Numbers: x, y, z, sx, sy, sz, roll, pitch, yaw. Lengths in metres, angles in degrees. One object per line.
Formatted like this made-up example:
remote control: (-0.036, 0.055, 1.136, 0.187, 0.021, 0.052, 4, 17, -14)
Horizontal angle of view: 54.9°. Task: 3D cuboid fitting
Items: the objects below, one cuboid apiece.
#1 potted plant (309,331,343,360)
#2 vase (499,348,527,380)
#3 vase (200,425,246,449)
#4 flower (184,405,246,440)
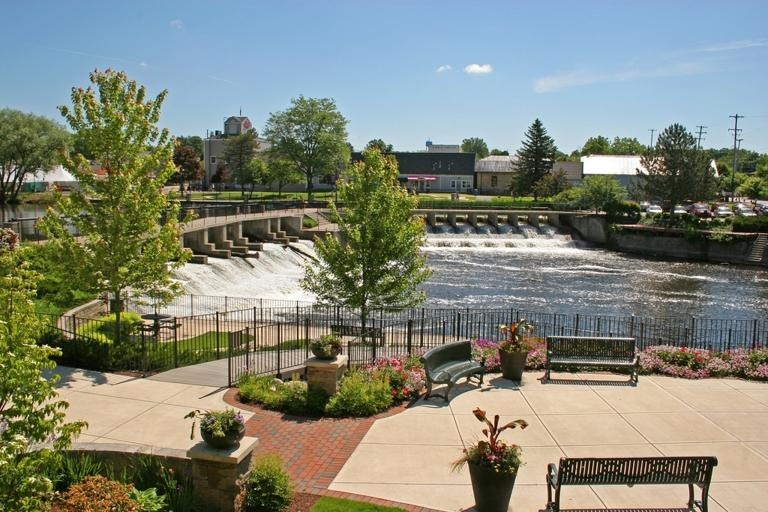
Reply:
potted plant: (-1.656, 2.436, 20.095, 0.621, 0.385, 0.691, 1, -3, -30)
vase: (3.702, 3.135, 21.365, 0.801, 0.702, 0.856, 1, -5, 6)
vase: (-3.471, 3.917, 15.844, 0.563, 0.219, 0.570, -1, -2, 21)
flower: (-3.767, 3.653, 16.142, 1.274, 0.549, 1.299, -9, -13, 39)
